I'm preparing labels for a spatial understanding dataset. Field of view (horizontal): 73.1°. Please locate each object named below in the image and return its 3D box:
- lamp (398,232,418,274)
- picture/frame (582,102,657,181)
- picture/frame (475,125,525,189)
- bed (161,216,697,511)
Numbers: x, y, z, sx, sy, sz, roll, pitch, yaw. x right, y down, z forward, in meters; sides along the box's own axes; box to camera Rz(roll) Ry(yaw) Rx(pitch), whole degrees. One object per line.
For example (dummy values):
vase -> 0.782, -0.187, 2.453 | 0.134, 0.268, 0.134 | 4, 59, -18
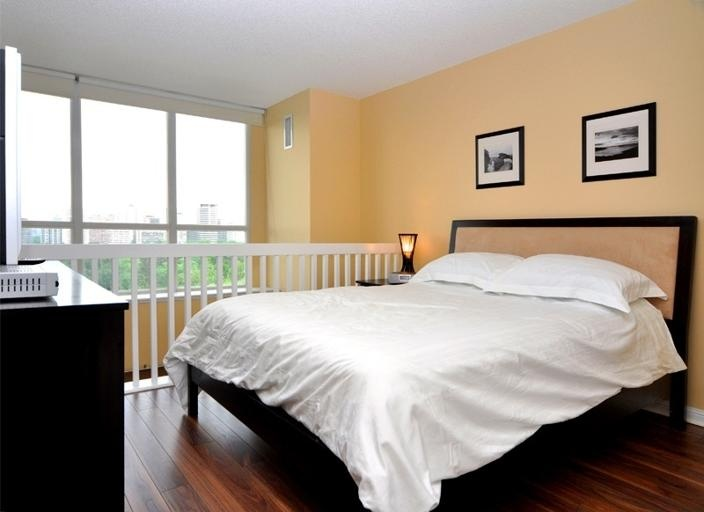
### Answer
lamp -> 0.549, -0.015, 4.636 | 0.218, 0.387, 0.219 | 0, -3, -3
picture/frame -> 1.866, -0.795, 3.359 | 0.442, 0.493, 0.025 | -1, -13, 31
picture/frame -> 1.269, -0.844, 4.008 | 0.563, 0.586, 0.045 | -1, -1, 42
bed -> 0.902, 0.094, 2.704 | 2.182, 1.154, 1.733 | -2, 4, -41
